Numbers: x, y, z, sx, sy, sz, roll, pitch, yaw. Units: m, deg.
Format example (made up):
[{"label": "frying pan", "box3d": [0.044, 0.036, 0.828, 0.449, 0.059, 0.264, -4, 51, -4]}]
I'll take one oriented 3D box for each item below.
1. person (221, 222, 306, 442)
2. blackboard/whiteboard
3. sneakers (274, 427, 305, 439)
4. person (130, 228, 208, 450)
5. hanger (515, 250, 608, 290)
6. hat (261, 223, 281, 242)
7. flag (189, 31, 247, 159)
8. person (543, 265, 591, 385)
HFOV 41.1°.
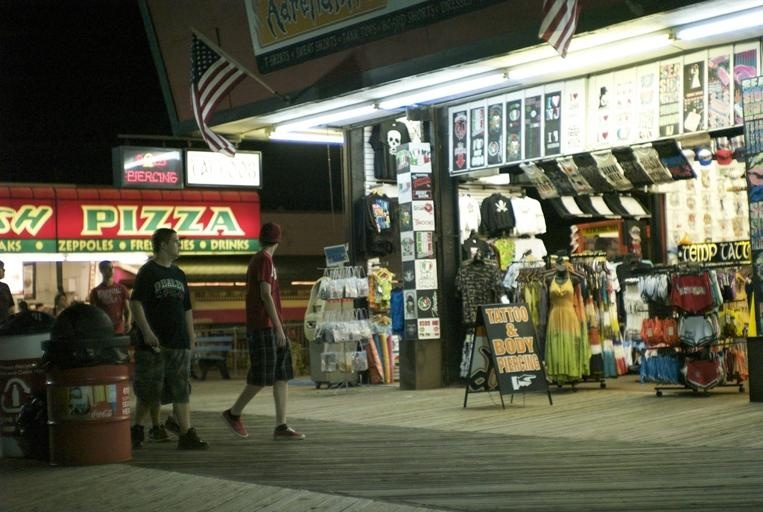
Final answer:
[{"label": "person", "box3d": [-1.368, 0.887, 12.350, 1.017, 2.475, 0.886, 0, -2, -31]}, {"label": "blackboard/whiteboard", "box3d": [1.848, 1.299, 14.097, 0.905, 1.328, 0.332, 0, -8, -23]}, {"label": "sneakers", "box3d": [-1.084, 2.073, 11.992, 0.360, 0.155, 0.145, 1, -5, -4]}, {"label": "person", "box3d": [-2.544, 0.854, 11.968, 0.857, 2.640, 0.983, 4, -1, -6]}, {"label": "hanger", "box3d": [2.889, 0.184, 15.833, 1.763, 0.756, 0.836, -2, -2, 19]}, {"label": "hat", "box3d": [-1.333, -0.300, 12.233, 0.184, 0.145, 0.249, 3, 15, 3]}, {"label": "flag", "box3d": [-2.674, -2.715, 16.546, 0.797, 1.781, 0.961, 3, -10, -38]}, {"label": "person", "box3d": [2.779, 1.000, 15.444, 0.664, 1.850, 0.342, -4, -8, 9]}]
